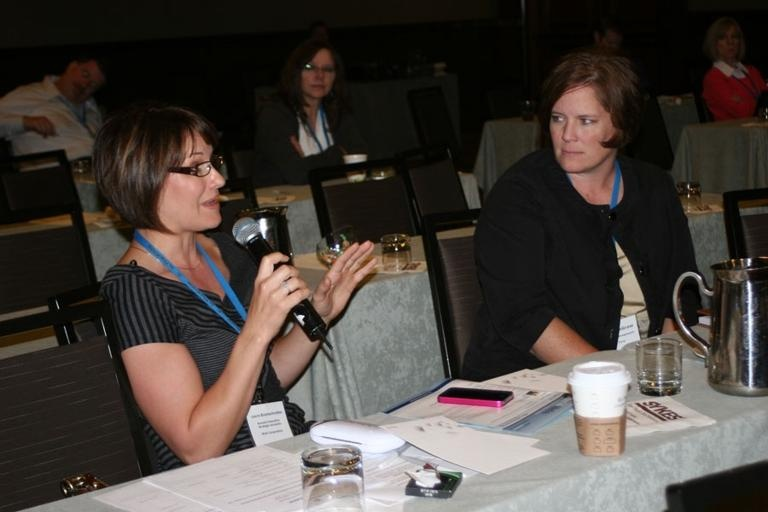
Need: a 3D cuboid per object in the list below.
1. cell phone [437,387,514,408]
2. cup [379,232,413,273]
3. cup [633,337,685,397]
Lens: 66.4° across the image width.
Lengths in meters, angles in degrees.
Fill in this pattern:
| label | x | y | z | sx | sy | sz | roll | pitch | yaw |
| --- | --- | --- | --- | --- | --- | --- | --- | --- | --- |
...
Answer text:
| label | x | y | z | sx | sy | sz | roll | pitch | yaw |
| --- | --- | --- | --- | --- | --- | --- | --- | --- | --- |
| cell phone | 0.222 | 0.339 | 1.423 | 0.118 | 0.014 | 0.067 | 1 | 6 | 15 |
| cup | 0.057 | -0.009 | 2.821 | 0.158 | 0.163 | 0.157 | -5 | 2 | 0 |
| cup | 0.680 | 0.274 | 1.498 | 0.137 | 0.137 | 0.128 | -1 | 4 | 0 |
